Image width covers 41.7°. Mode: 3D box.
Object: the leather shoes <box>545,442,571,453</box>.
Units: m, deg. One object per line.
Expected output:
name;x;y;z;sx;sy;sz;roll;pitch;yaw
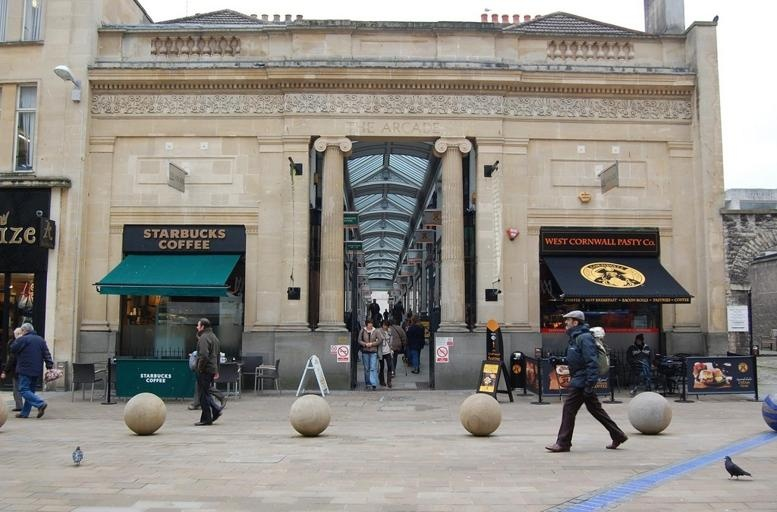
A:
leather shoes;4.261;4.835;25.793;0.687;0.245;0.231;3;-5;2

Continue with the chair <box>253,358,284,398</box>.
chair;-4.115;3.876;34.209;1.210;1.265;1.029;-3;14;-7

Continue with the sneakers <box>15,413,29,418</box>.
sneakers;-10.640;4.608;29.506;0.472;0.160;0.164;3;-2;20

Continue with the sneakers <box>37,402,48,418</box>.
sneakers;-10.018;4.446;29.485;0.233;0.502;0.177;32;12;25

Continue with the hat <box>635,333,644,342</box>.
hat;8.330;2.688;33.809;0.283;0.231;0.368;3;-9;15

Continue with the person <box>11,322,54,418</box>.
person;-10.436;3.314;29.803;1.253;2.753;0.997;0;-8;4

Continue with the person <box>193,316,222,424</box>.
person;-5.134;3.257;28.807;0.791;2.944;0.502;7;-10;-39

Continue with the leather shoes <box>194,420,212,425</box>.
leather shoes;-5.178;4.639;28.554;0.451;0.161;0.149;2;-6;2

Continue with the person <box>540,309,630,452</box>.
person;4.926;3.166;25.994;1.581;3.577;1.102;5;-9;-30

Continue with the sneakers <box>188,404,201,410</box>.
sneakers;-5.952;4.575;31.018;0.305;0.122;0.158;-1;-3;32
